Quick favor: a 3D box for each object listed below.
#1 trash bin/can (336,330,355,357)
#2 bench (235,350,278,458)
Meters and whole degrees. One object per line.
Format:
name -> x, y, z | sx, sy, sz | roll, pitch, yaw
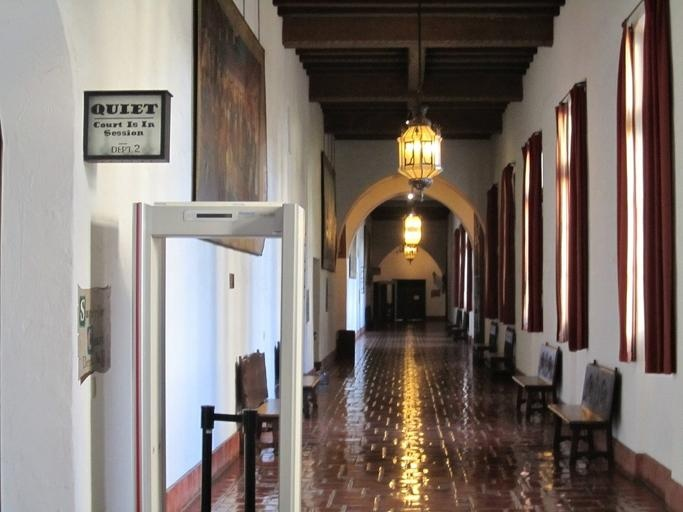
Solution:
trash bin/can -> 0.122, 2.146, 17.483 | 0.444, 0.886, 0.525 | 0, 0, 3
bench -> -0.932, 1.608, 7.632 | 0.367, 1.018, 1.096 | 0, -2, 3
